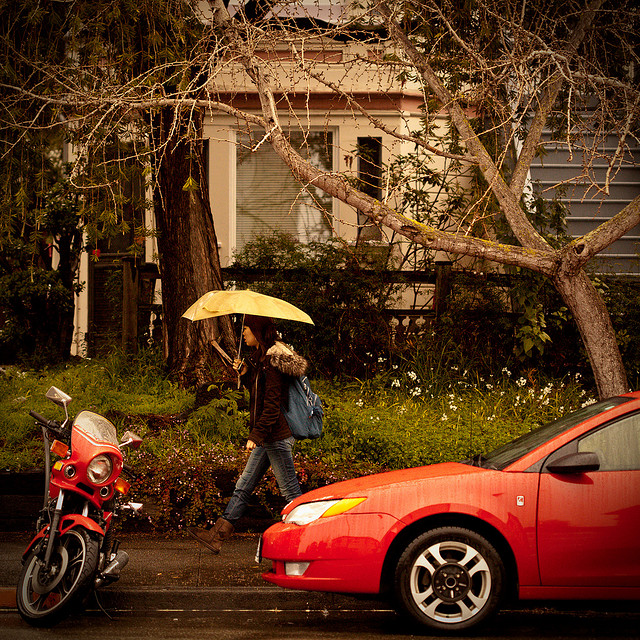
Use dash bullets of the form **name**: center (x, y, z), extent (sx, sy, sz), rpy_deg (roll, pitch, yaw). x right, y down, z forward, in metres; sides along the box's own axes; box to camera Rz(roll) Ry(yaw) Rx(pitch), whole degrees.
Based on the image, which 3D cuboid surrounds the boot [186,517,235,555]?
- **boot**: center (-0.938, 1.830, 7.568), extent (0.362, 0.438, 0.559), rpy_deg (3, 1, -10)

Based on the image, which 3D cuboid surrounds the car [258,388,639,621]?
- **car**: center (0.912, 1.139, 6.436), extent (2.234, 1.277, 1.342), rpy_deg (-1, 1, 3)

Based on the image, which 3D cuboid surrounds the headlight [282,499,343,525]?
- **headlight**: center (-0.077, 1.328, 6.225), extent (0.436, 0.153, 0.149), rpy_deg (6, 2, 36)

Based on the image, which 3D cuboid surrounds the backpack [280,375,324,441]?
- **backpack**: center (-0.139, 0.710, 7.553), extent (0.240, 0.602, 0.328), rpy_deg (-6, -1, 26)

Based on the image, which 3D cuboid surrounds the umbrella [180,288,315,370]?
- **umbrella**: center (-0.741, 0.061, 8.121), extent (0.717, 0.655, 0.723), rpy_deg (5, 2, 45)

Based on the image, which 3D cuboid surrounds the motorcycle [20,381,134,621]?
- **motorcycle**: center (-1.748, 1.292, 6.429), extent (0.734, 1.029, 0.797), rpy_deg (3, 1, -21)
